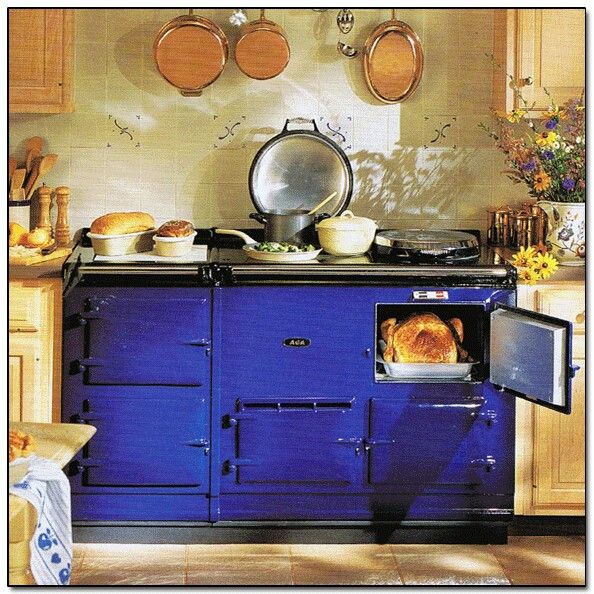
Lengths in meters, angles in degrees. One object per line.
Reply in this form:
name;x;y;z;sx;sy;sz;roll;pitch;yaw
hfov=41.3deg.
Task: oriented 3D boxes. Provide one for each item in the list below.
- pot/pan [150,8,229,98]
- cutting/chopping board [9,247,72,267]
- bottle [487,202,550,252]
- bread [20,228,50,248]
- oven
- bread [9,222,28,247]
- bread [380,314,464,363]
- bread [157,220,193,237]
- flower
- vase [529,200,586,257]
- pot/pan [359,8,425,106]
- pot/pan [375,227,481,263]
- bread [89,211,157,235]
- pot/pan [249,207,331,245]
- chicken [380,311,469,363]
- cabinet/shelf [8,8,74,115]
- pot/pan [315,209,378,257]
pot/pan;-0.426;-0.987;3.244;0.317;0.286;0.100;-1;14;-3
cutting/chopping board;-0.953;-0.149;2.937;0.217;0.070;0.266;-1;3;-16
bottle;0.922;-0.298;3.296;0.183;0.148;0.262;-4;6;-26
bread;-1.048;-0.235;3.149;0.097;0.044;0.093;-3;9;-6
oven;0.530;0.460;3.066;1.414;0.816;0.840;-9;-19;43
bread;-1.105;-0.244;3.115;0.091;0.090;0.059;9;4;7
bread;0.460;0.171;2.946;0.256;0.070;0.208;0;34;0
bread;-0.459;-0.256;2.988;0.133;0.050;0.160;-2;4;-5
flower;0.957;-0.692;3.210;0.393;0.650;0.482;0;3;11
vase;1.021;-0.257;3.041;0.175;0.228;0.086;0;3;21
pot/pan;0.403;-1.004;3.322;0.252;0.362;0.082;0;3;7
pot/pan;0.492;-0.198;3.044;0.411;0.136;0.361;0;3;8
bread;-0.662;-0.277;2.991;0.122;0.094;0.248;1;3;26
pot/pan;-0.020;-0.266;3.076;0.293;0.144;0.153;0;1;-6
chicken;0.469;0.149;2.952;0.356;0.092;0.270;4;43;6
cabinet/shelf;-0.981;-0.907;3.027;0.240;0.384;0.083;-2;3;-16
pot/pan;0.200;-0.233;2.990;0.245;0.129;0.196;0;2;-5
